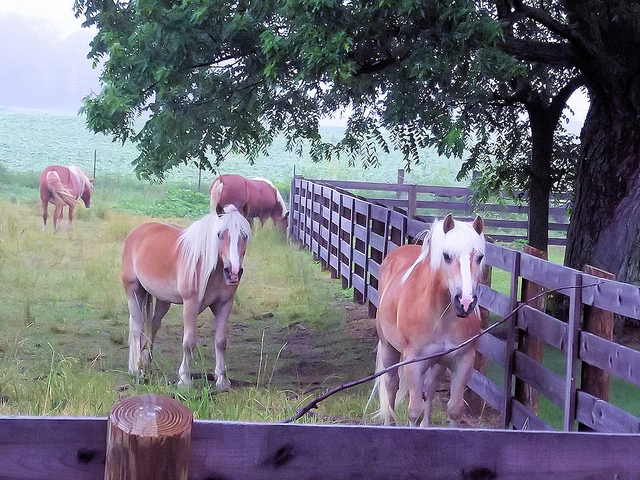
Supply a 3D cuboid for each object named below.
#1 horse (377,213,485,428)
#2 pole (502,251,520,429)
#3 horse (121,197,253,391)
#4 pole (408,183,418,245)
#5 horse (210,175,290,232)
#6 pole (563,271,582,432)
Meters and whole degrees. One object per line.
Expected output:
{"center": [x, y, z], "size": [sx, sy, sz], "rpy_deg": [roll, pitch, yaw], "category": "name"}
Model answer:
{"center": [0.914, 0.802, 5.124], "size": [0.624, 2.126, 1.627], "rpy_deg": [1, 5, -7], "category": "horse"}
{"center": [1.664, 0.883, 5.246], "size": [0.073, 1.583, 0.280], "rpy_deg": [3, 5, 19], "category": "pole"}
{"center": [-1.575, 0.633, 6.893], "size": [2.549, 2.113, 0.792], "rpy_deg": [3, 5, 43], "category": "horse"}
{"center": [2.563, -0.763, 16.523], "size": [0.200, 1.755, 0.233], "rpy_deg": [5, 2, 17], "category": "pole"}
{"center": [-1.927, -0.874, 17.538], "size": [0.809, 2.014, 3.177], "rpy_deg": [5, -2, 41], "category": "horse"}
{"center": [1.923, 0.841, 4.588], "size": [0.097, 1.230, 0.165], "rpy_deg": [4, 5, 24], "category": "pole"}
